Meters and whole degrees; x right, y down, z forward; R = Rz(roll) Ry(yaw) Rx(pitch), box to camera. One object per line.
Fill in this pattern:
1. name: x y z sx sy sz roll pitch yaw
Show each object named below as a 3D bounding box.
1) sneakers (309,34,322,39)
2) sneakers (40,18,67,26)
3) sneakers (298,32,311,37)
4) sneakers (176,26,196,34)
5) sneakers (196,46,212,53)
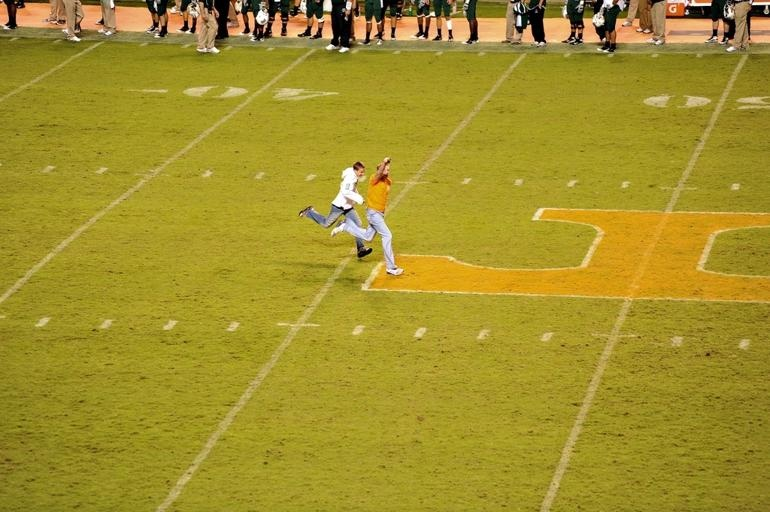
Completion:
1. sneakers: -1.606 -5.331 24.563 0.253 0.125 0.229 -3 14 -19
2. sneakers: -8.550 -6.014 26.039 0.798 0.183 0.185 5 22 2
3. sneakers: -1.943 -5.419 24.837 0.444 0.113 0.166 8 15 33
4. sneakers: -4.868 -5.625 25.255 0.673 0.153 0.186 2 16 6
5. sneakers: -4.243 -4.808 23.724 0.341 0.106 0.117 6 16 22
